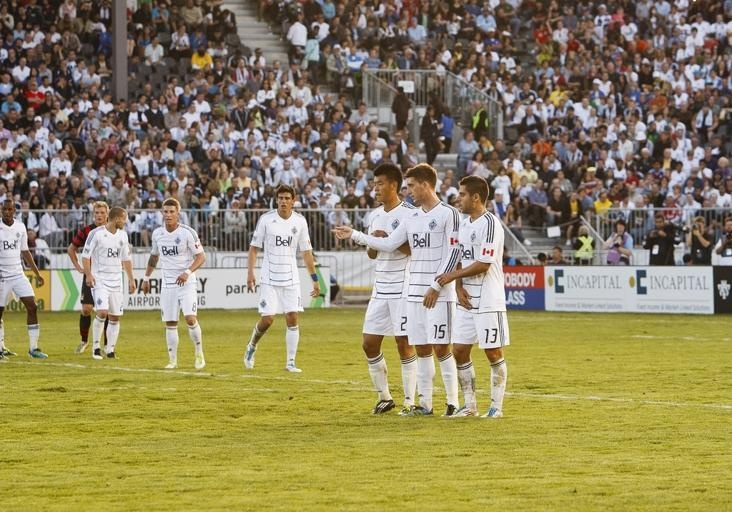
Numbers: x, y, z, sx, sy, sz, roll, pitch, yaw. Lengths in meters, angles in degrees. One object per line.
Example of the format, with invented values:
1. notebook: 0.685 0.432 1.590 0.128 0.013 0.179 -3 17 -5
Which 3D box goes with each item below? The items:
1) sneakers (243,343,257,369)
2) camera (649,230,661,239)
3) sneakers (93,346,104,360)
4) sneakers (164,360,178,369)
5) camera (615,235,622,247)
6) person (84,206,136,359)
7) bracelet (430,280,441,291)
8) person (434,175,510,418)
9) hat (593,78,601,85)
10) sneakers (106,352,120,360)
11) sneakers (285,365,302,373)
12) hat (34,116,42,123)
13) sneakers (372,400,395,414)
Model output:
1. sneakers: -2.332 2.058 34.513 0.190 0.599 0.242 -2 10 -21
2. camera: 7.535 -0.635 44.717 0.187 0.209 0.147 6 3 21
3. sneakers: -5.603 2.057 35.729 0.237 0.276 0.669 1 -3 -17
4. sneakers: -3.959 2.249 34.575 0.103 0.139 0.306 5 -4 -31
5. camera: 6.749 -0.454 45.540 0.224 0.267 0.231 9 19 19
6. person: -5.342 0.511 35.661 1.075 3.148 0.817 -10 17 -36
7. bracelet: 1.247 0.513 30.257 0.179 0.219 0.106 2 14 4
8. person: 2.016 0.744 30.291 1.185 4.293 0.996 12 18 38
9. hat: 7.294 -5.719 53.873 0.250 0.066 0.230 9 25 -32
10. sneakers: -5.283 2.103 35.674 0.129 0.123 0.160 0 4 13
11. sneakers: -1.451 2.304 34.237 0.338 0.244 0.127 -2 -3 9
12. hat: -8.946 -3.886 46.613 0.187 0.102 0.294 2 7 -12
13. sneakers: 0.307 2.759 30.848 0.171 0.215 0.479 -9 -6 41
